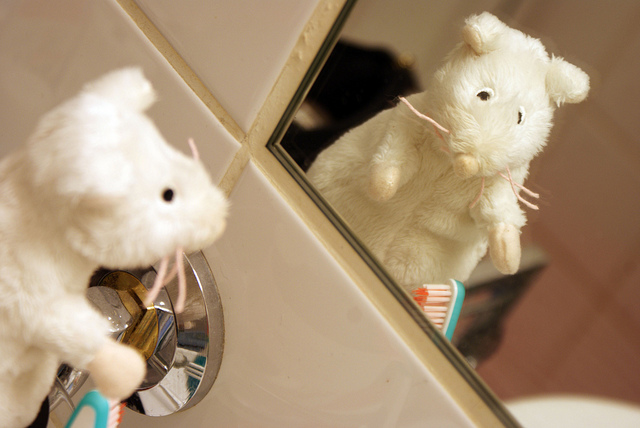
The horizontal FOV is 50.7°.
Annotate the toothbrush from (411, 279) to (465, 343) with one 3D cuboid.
[{"bbox_3d":[0.142,0.116,0.834,0.049,0.122,0.026,-1,51,-1],"label":"toothbrush"}]
